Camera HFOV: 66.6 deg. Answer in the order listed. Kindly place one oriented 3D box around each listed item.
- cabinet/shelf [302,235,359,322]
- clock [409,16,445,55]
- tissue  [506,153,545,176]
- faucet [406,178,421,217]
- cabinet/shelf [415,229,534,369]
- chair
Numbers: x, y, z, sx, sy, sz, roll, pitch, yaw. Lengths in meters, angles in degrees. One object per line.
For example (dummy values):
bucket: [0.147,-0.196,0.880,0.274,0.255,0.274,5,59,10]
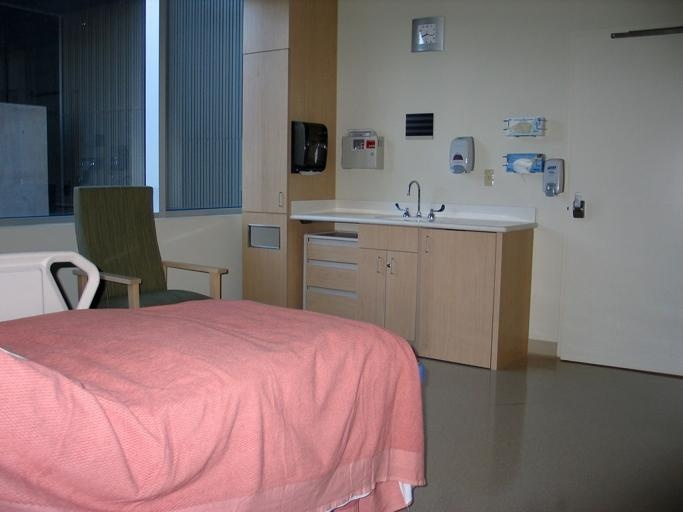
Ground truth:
cabinet/shelf: [-0.084,0.181,4.569,0.604,0.848,0.401,2,4,36]
clock: [0.798,-2.039,4.788,0.334,0.381,0.048,3,4,38]
tissue : [1.569,-0.795,4.440,0.311,0.172,0.105,4,11,26]
faucet: [0.687,-0.552,4.937,0.126,0.343,0.233,0,10,6]
cabinet/shelf: [1.107,0.334,4.283,0.977,1.128,0.492,0,9,5]
chair: [-1.478,-0.081,3.713,0.772,0.826,0.878,-10,14,-43]
